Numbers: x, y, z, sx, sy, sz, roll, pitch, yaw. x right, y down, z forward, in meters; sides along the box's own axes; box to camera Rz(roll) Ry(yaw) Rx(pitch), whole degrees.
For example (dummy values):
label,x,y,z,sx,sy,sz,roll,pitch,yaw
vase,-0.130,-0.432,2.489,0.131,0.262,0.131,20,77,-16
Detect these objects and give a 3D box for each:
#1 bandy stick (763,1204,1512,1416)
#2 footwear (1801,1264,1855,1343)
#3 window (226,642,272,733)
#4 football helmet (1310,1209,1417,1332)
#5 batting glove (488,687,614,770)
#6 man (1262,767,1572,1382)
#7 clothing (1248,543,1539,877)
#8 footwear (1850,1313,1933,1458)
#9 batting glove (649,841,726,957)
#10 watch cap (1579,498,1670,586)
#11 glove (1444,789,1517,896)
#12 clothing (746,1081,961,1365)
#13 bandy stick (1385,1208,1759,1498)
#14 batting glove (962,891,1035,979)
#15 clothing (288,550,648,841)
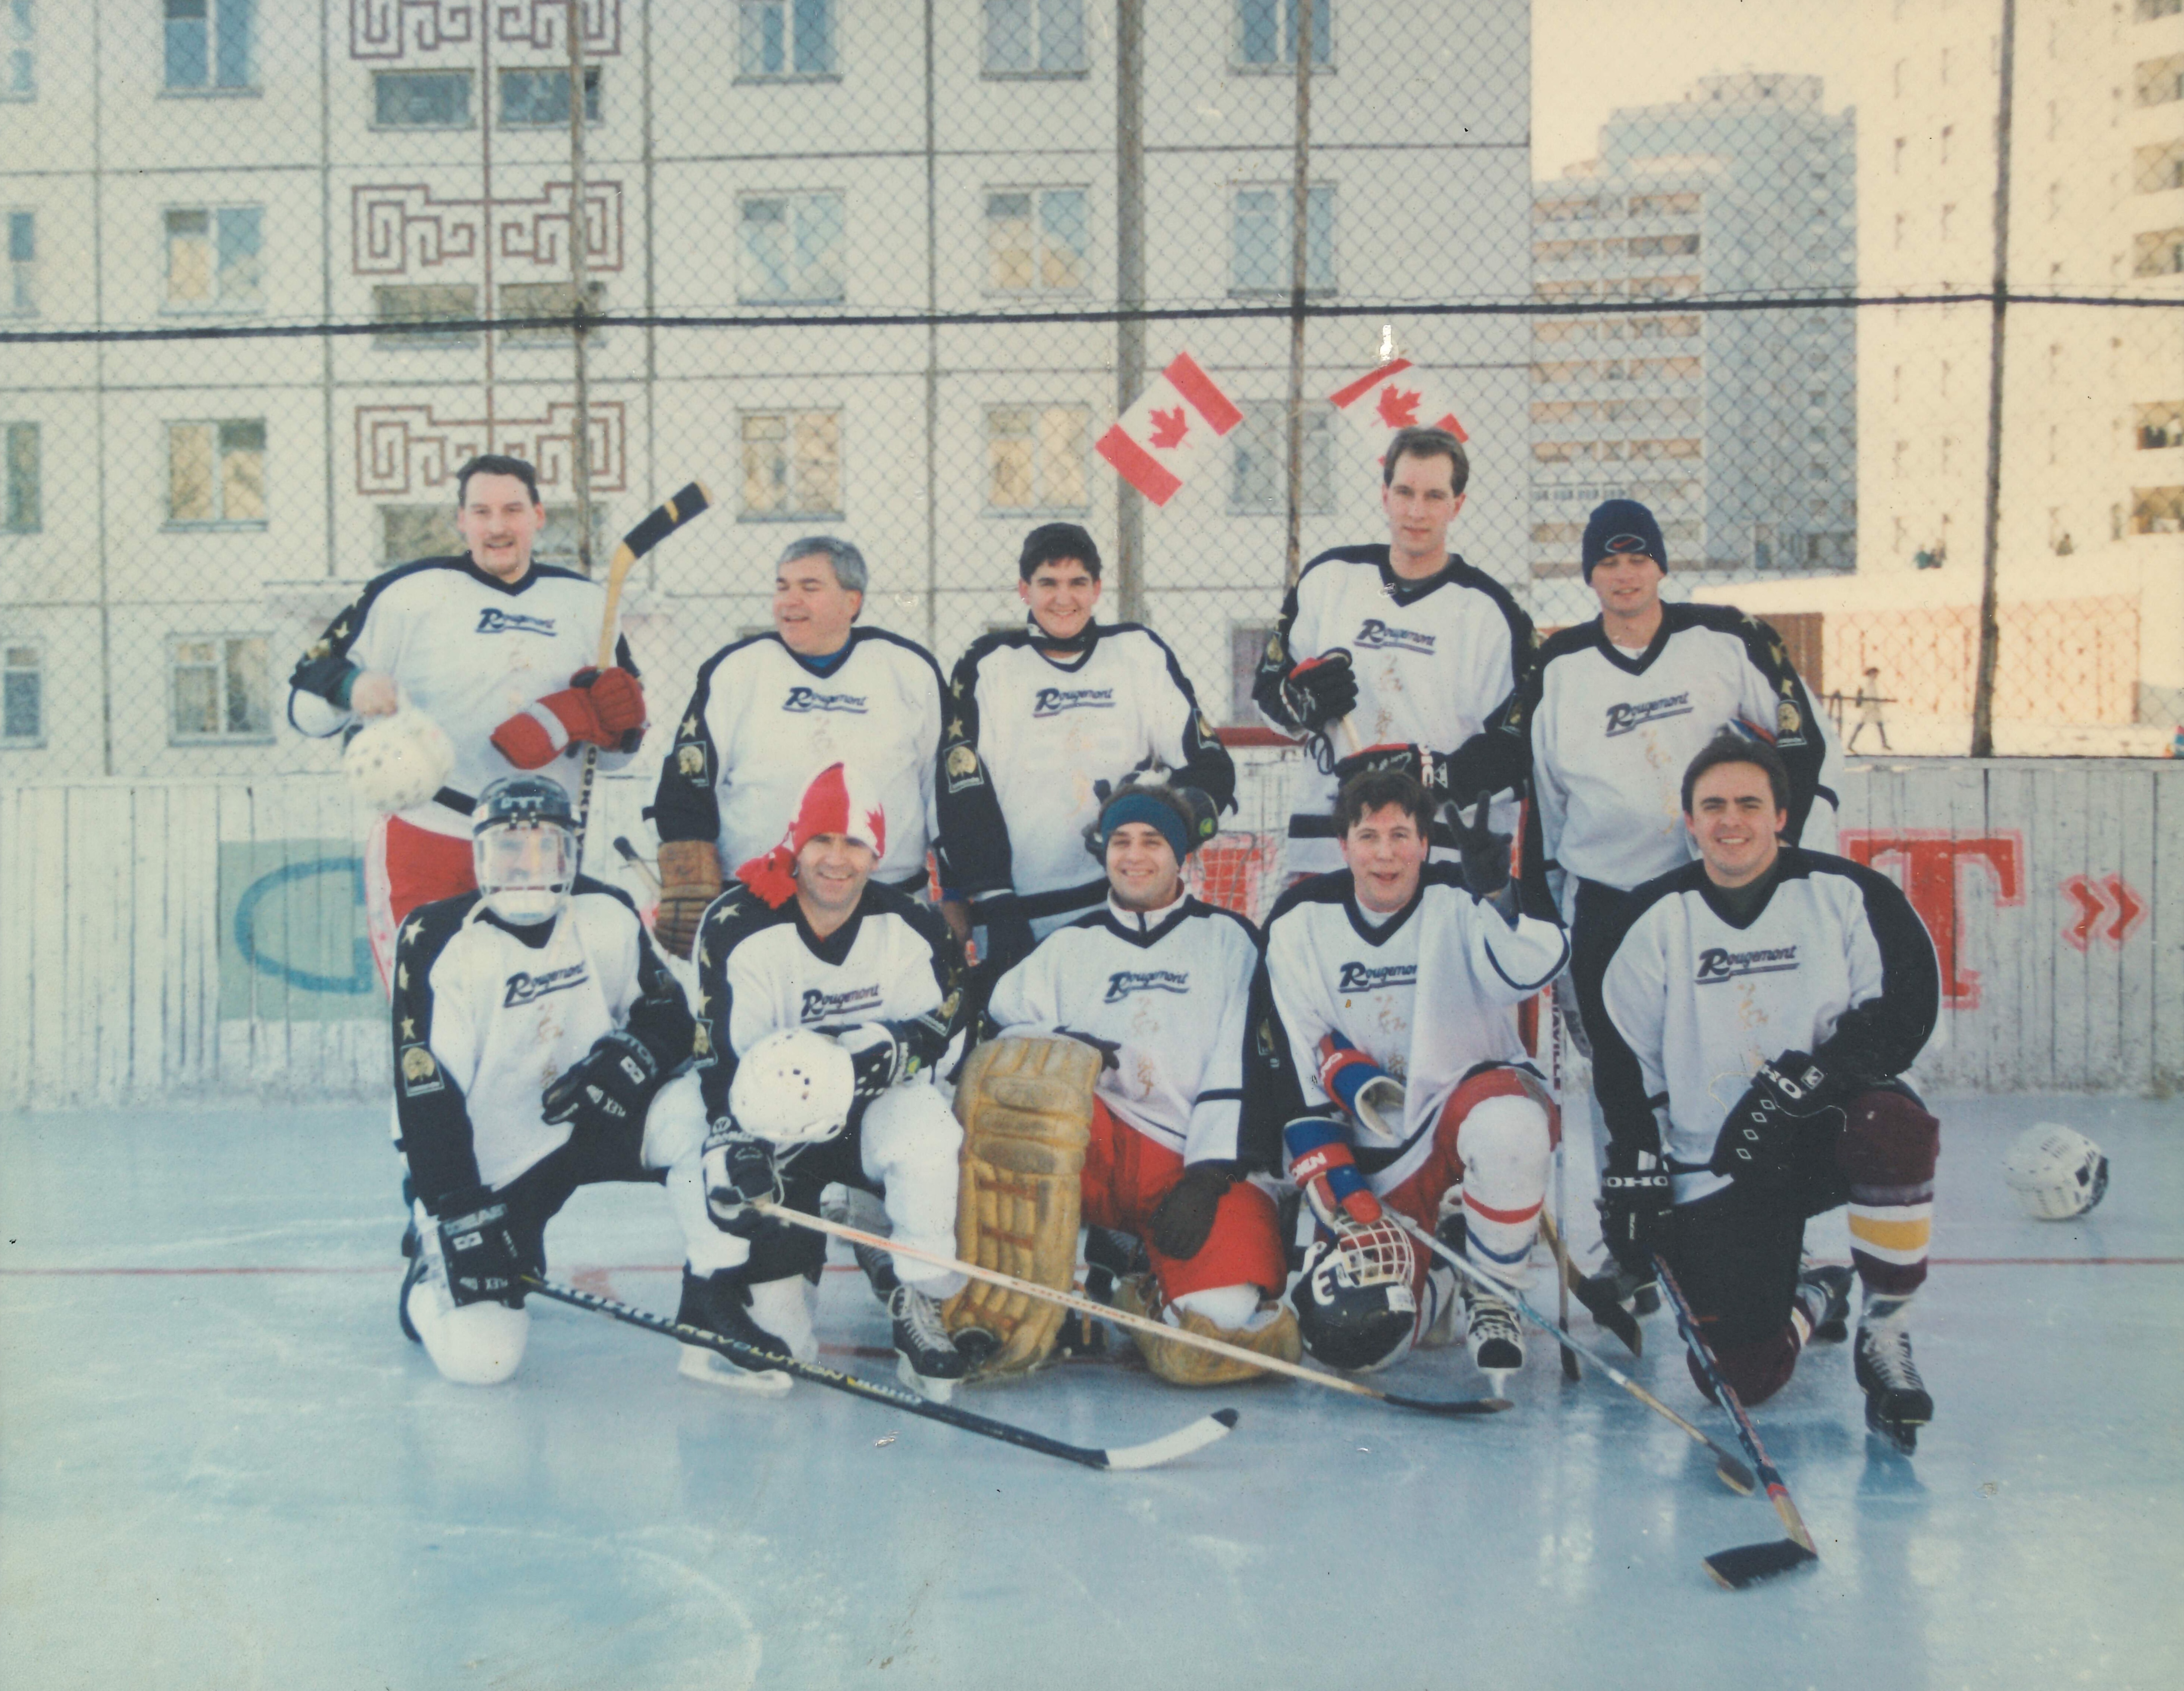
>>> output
label,x,y,z,sx,sy,sz,roll,pitch,yaw
bandy stick,0.234,1.951,18.391,1.686,0.282,0.147,22,-19,12
footwear,3.039,1.944,18.608,0.272,0.315,0.091,-4,3,1
window,-5.964,-1.107,31.502,0.301,0.648,0.488,0,4,-10
football helmet,1.116,1.738,18.320,0.393,0.503,0.352,3,2,15
batting glove,-2.317,-0.493,19.260,0.538,0.357,0.231,0,4,-8
man,1.341,0.969,18.520,1.322,2.482,1.194,2,15,31
clothing,1.226,-0.355,19.378,1.177,1.777,0.917,8,3,23
footwear,3.219,2.186,18.038,0.277,0.525,0.217,19,-39,-21
batting glove,-1.705,0.240,19.209,0.350,0.549,0.351,-1,7,-30
watch cap,2.243,-1.288,18.933,0.295,0.343,0.339,4,9,20
glove,1.631,0.013,18.875,0.337,0.185,0.564,-7,39,3
clothing,-0.899,1.529,18.222,0.953,1.088,0.400,3,-11,34
bandy stick,1.952,2.118,18.208,0.089,0.245,1.552,-26,56,-37
batting glove,-0.389,0.403,19.120,0.305,0.351,0.095,-4,-1,26
clothing,-2.709,-0.607,19.608,1.407,1.260,0.541,4,1,-12
